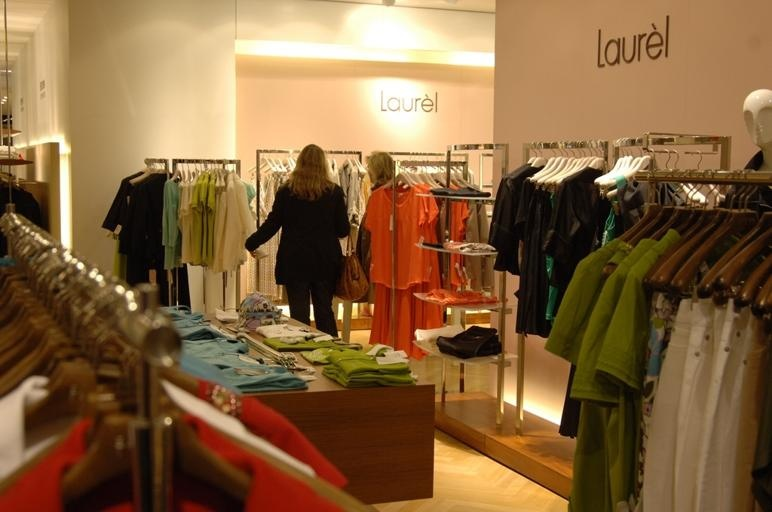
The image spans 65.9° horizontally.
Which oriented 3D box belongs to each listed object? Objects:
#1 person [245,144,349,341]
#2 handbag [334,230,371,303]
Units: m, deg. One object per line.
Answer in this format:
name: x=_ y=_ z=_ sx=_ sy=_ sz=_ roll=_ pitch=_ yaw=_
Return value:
person: x=-0.774 y=-0.037 z=5.613 sx=0.990 sy=2.139 sz=0.683 roll=-4 pitch=27 yaw=-14
handbag: x=-0.322 y=0.098 z=5.676 sx=0.285 sy=0.647 sz=0.330 roll=8 pitch=15 yaw=37
